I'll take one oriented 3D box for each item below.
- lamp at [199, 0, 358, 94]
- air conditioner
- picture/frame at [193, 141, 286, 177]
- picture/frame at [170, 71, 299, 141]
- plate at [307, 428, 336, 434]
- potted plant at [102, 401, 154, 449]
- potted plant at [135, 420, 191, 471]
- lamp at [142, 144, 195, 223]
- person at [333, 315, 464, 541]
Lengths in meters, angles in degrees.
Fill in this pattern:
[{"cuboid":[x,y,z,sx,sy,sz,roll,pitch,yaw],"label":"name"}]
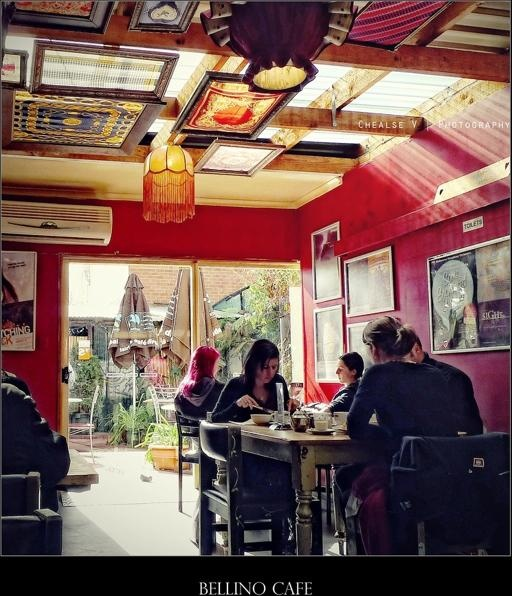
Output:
[{"cuboid":[0.069,-1.037,2.169,0.388,0.214,0.381,7,-22,-22],"label":"lamp"},{"cuboid":[-1.841,-0.692,4.893,0.928,0.368,0.325,3,-11,-24],"label":"air conditioner"},{"cuboid":[-0.156,-0.985,3.788,0.502,0.112,0.711,2,-10,-21],"label":"picture/frame"},{"cuboid":[-0.147,-1.094,2.981,0.484,0.050,0.425,3,-12,-37],"label":"picture/frame"},{"cuboid":[0.264,0.540,2.130,0.109,0.015,0.150,-2,-10,1],"label":"plate"},{"cuboid":[-1.723,1.824,7.403,0.650,0.578,0.659,1,-18,4],"label":"potted plant"},{"cuboid":[-1.098,1.739,6.236,0.784,0.566,0.780,3,-11,-11],"label":"potted plant"},{"cuboid":[-0.545,-0.760,3.331,0.335,0.519,0.312,-1,5,-17],"label":"lamp"},{"cuboid":[0.536,0.519,2.105,0.578,0.912,0.604,-5,-10,20],"label":"person"}]
